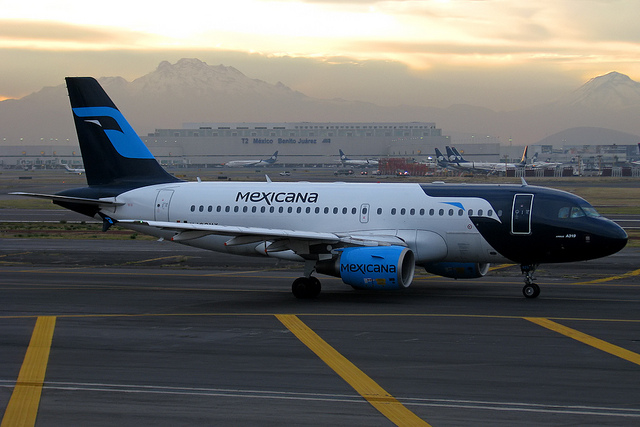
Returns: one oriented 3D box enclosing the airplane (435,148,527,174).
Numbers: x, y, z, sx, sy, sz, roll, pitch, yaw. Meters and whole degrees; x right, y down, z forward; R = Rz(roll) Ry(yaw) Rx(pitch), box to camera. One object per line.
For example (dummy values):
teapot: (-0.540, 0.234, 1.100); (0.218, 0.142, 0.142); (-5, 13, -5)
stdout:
airplane: (42.800, -14.412, 219.376); (26.108, 5.142, 17.453); (2, 6, 21)

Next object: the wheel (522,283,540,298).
wheel: (10.251, 3.771, 39.141); (0.762, 0.668, 0.508); (3, 12, 17)

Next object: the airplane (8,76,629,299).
airplane: (-0.245, 0.167, 41.646); (25.163, 5.132, 19.903); (1, 4, 19)

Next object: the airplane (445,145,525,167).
airplane: (40.971, -14.554, 205.718); (17.276, 3.398, 11.135); (0, 8, -2)

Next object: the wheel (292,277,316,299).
wheel: (-0.746, 3.694, 39.357); (1.742, 0.973, 0.758); (3, 8, 20)

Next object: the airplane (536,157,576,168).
airplane: (74.775, -16.416, 256.113); (14.582, 2.501, 11.050); (2, 5, 13)
